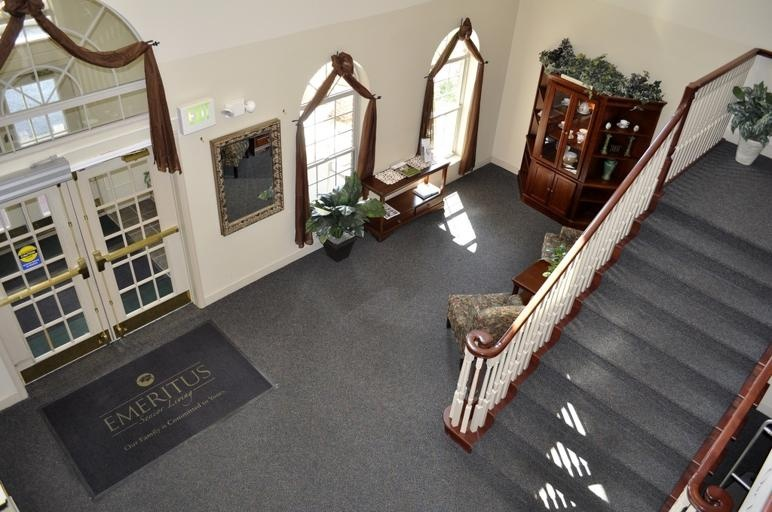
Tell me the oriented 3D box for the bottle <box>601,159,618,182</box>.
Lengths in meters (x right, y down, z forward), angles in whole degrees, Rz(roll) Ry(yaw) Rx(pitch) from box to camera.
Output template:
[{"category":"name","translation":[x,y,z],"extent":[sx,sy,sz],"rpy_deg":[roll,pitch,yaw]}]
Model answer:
[{"category":"bottle","translation":[4.371,-1.691,9.633],"extent":[0.201,0.361,0.242],"rpy_deg":[-21,49,-20]}]

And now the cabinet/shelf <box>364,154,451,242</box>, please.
[{"category":"cabinet/shelf","translation":[0.433,-1.221,10.085],"extent":[1.935,1.109,0.706],"rpy_deg":[-29,48,-35]}]

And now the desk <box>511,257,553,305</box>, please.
[{"category":"desk","translation":[2.474,0.495,8.523],"extent":[0.484,0.560,0.919],"rpy_deg":[17,37,21]}]

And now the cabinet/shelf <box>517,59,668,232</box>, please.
[{"category":"cabinet/shelf","translation":[3.812,-2.037,8.930],"extent":[0.834,2.680,2.628],"rpy_deg":[-26,53,-27]}]

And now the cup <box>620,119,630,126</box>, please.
[{"category":"cup","translation":[4.372,-2.437,9.000],"extent":[0.130,0.095,0.108],"rpy_deg":[9,80,6]}]

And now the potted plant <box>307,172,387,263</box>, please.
[{"category":"potted plant","translation":[-0.867,-0.620,9.016],"extent":[1.374,1.253,1.408],"rpy_deg":[-33,57,-26]}]

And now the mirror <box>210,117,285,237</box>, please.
[{"category":"mirror","translation":[-2.214,-1.316,7.784],"extent":[1.407,1.993,0.143],"rpy_deg":[-23,43,-32]}]

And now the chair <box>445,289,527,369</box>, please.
[{"category":"chair","translation":[1.523,1.011,7.528],"extent":[0.990,0.901,1.058],"rpy_deg":[-3,48,0]}]

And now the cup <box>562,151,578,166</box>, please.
[{"category":"cup","translation":[3.662,-1.937,9.816],"extent":[0.254,0.127,0.271],"rpy_deg":[-2,57,3]}]

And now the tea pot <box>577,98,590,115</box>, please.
[{"category":"tea pot","translation":[3.728,-2.806,9.258],"extent":[0.199,0.231,0.213],"rpy_deg":[-4,61,7]}]

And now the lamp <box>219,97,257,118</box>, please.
[{"category":"lamp","translation":[-2.149,-2.182,7.286],"extent":[0.558,0.270,0.168],"rpy_deg":[-20,39,-29]}]

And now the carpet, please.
[{"category":"carpet","translation":[-3.335,2.129,7.194],"extent":[2.650,0.614,1.648],"rpy_deg":[-23,41,-31]}]
